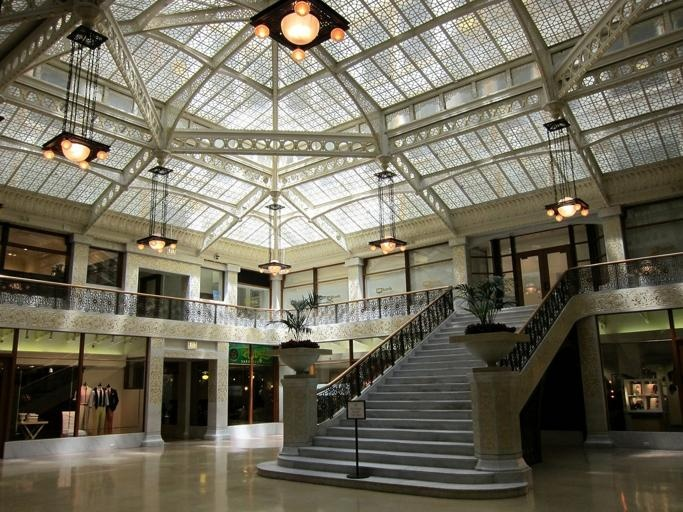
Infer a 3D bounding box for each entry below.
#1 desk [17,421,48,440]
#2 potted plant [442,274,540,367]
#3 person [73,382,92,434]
[{"bbox_3d":[-10.106,5.571,16.512,0.699,0.525,0.686,-8,-11,37],"label":"desk"},{"bbox_3d":[3.983,1.757,13.805,2.606,2.652,2.392,-7,-14,31],"label":"potted plant"},{"bbox_3d":[-9.029,5.332,17.867,0.403,1.739,0.730,6,-20,-23],"label":"person"}]
